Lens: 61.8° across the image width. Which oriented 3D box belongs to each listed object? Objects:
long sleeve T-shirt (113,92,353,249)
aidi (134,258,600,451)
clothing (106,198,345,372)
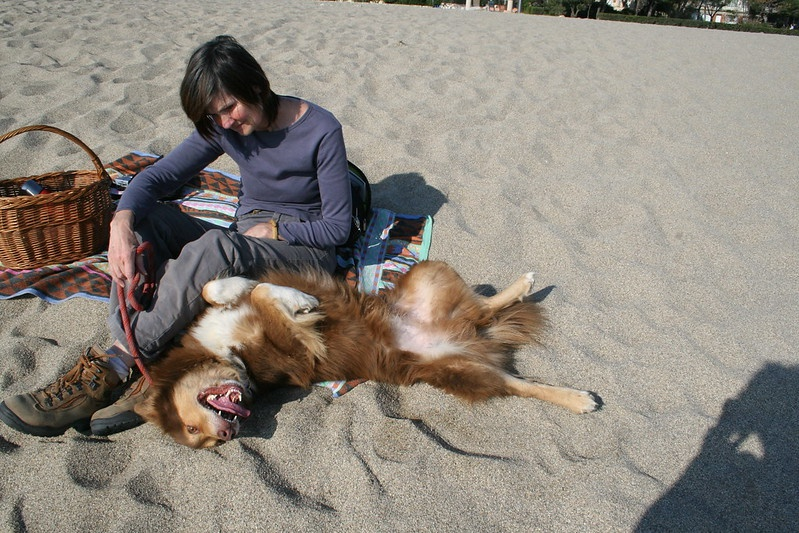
[{"bbox_3d":[-1.012,-0.780,5.254,1.192,0.994,1.550,31,41,34],"label":"long sleeve T-shirt"},{"bbox_3d":[-0.370,0.511,5.017,2.519,0.781,1.553,-19,22,-2],"label":"aidi"},{"bbox_3d":[-1.391,0.111,5.168,1.385,0.553,1.030,-45,48,-3],"label":"clothing"}]
